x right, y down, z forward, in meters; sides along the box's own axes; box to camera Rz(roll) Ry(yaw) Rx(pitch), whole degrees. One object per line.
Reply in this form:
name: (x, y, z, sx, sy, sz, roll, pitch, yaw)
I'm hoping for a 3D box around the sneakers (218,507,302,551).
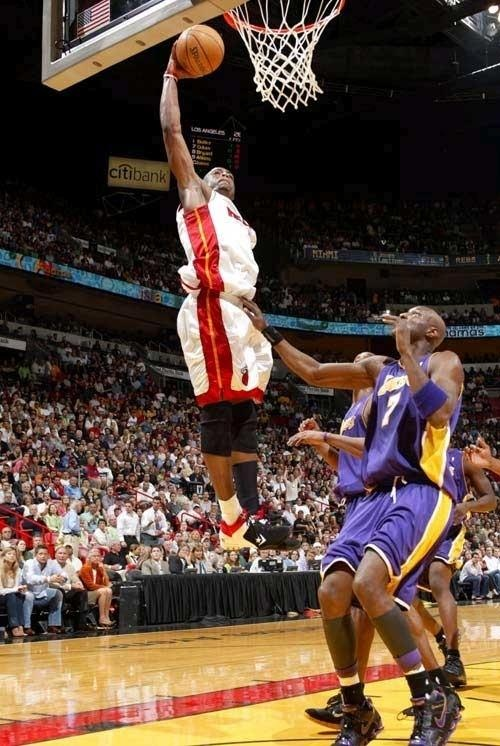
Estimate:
sneakers: (0.036, 0.710, 3.316, 0.422, 0.173, 0.158, -1, -11, 6)
